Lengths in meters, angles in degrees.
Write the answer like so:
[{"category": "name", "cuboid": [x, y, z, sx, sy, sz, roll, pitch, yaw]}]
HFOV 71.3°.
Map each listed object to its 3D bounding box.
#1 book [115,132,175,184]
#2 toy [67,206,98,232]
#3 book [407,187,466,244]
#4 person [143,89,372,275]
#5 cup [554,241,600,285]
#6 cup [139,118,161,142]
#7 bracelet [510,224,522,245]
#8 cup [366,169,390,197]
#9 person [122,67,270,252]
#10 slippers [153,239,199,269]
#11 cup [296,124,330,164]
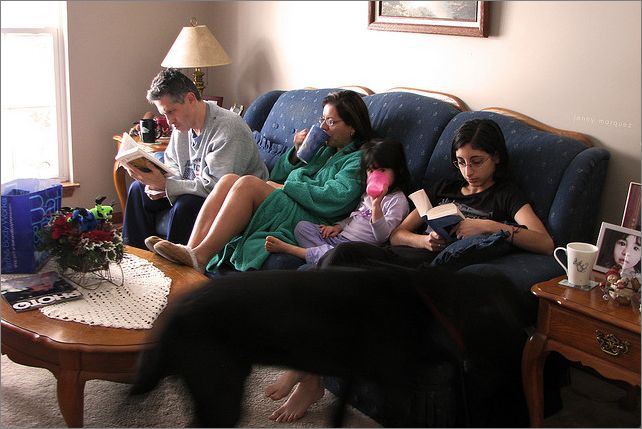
[{"category": "book", "cuboid": [-0.856, -0.281, 2.238, 0.219, 0.083, 0.232, 20, -12, 45]}, {"category": "toy", "cuboid": [-0.846, 0.020, 1.574, 0.078, 0.095, 0.069, -8, -3, 4]}, {"category": "book", "cuboid": [0.425, -0.001, 1.676, 0.199, 0.190, 0.074, 15, 55, 37]}, {"category": "person", "cuboid": [-0.267, -0.174, 2.232, 1.179, 0.818, 0.524, -5, 13, -32]}, {"category": "cup", "cuboid": [0.795, 0.150, 1.434, 0.121, 0.132, 0.154, -14, 16, -42]}, {"category": "cup", "cuboid": [-1.166, -0.561, 3.005, 0.164, 0.156, 0.110, 4, 10, 26]}, {"category": "bracelet", "cuboid": [0.706, 0.076, 1.609, 0.014, 0.051, 0.051, 25, -28, -16]}, {"category": "cup", "cuboid": [0.251, -0.133, 2.033, 0.107, 0.114, 0.086, -15, 26, 28]}, {"category": "person", "cuboid": [-0.715, -0.204, 2.588, 0.588, 1.126, 0.863, 19, 24, 41]}, {"category": "slippers", "cuboid": [-0.593, 0.159, 1.861, 0.216, 0.089, 0.072, 25, 14, -29]}, {"category": "cup", "cuboid": [-0.041, -0.372, 2.397, 0.132, 0.204, 0.135, 36, 14, -10]}]
